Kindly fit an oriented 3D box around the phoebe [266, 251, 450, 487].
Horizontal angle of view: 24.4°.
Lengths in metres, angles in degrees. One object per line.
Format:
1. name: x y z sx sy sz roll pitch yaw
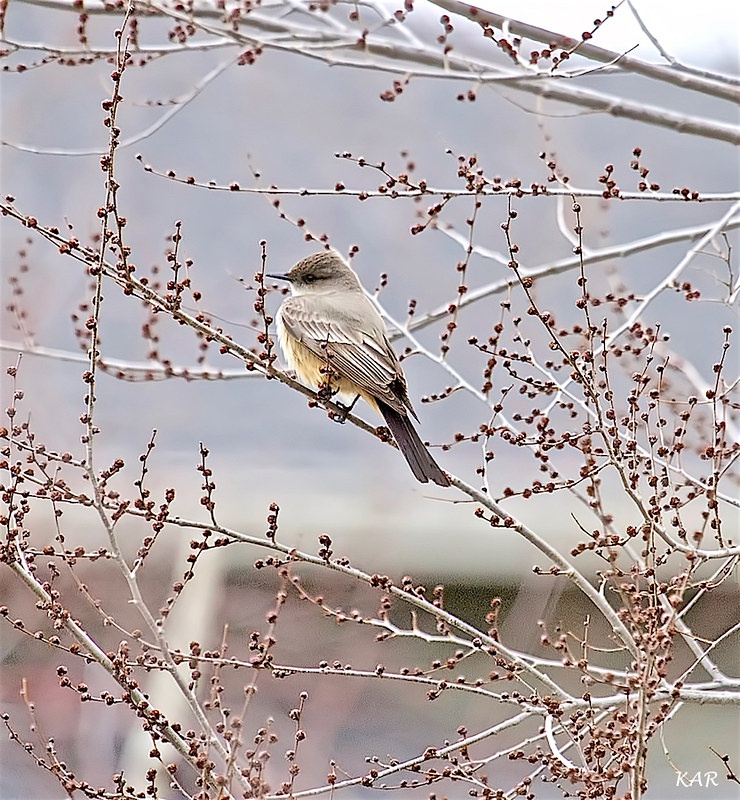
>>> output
1. phoebe: -0.062 -0.289 9.510 0.483 1.768 0.918 4 -76 -40
